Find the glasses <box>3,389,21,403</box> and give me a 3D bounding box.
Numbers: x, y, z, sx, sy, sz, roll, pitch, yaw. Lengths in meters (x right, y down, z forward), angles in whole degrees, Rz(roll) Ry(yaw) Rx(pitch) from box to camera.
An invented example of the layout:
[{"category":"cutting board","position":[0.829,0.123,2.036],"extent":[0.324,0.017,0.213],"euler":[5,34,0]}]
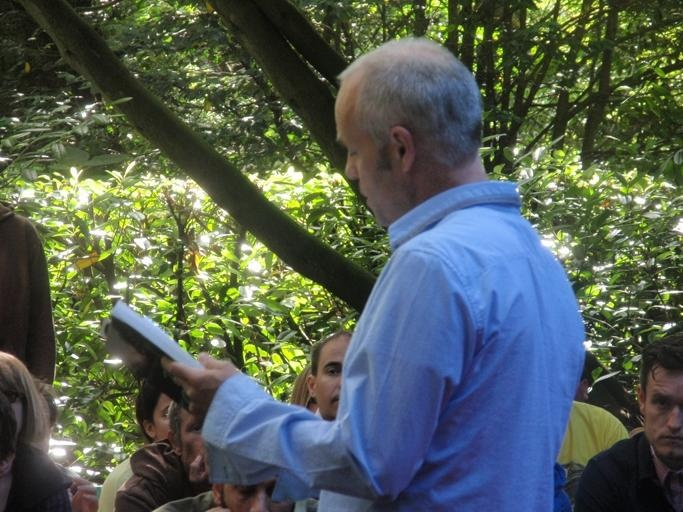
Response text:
[{"category":"glasses","position":[-1.339,0.569,2.918],"extent":[0.056,0.020,0.058],"euler":[10,-3,-25]}]
